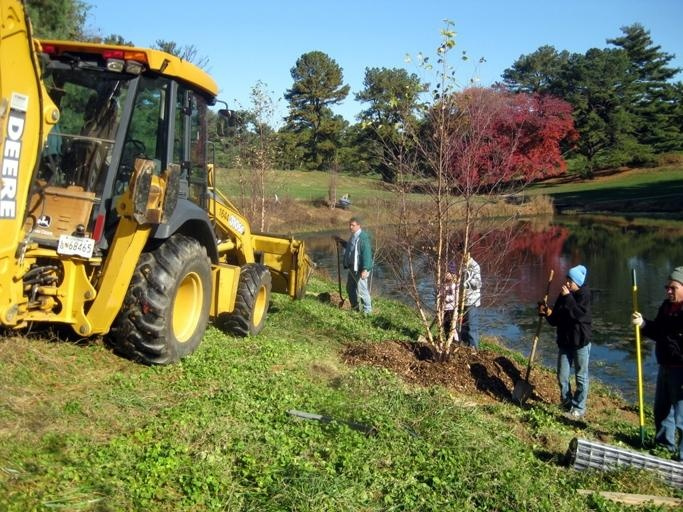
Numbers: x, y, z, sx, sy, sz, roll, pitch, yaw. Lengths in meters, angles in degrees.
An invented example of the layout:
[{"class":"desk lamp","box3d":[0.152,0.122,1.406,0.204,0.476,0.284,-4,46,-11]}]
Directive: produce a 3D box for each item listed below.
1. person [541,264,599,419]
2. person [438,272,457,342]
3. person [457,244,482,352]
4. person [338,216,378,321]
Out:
[{"class":"person","box3d":[3.290,1.186,8.268,0.656,2.269,0.444,5,1,40]},{"class":"person","box3d":[1.785,0.815,9.289,0.290,1.096,1.722,5,0,12]},{"class":"person","box3d":[2.216,0.777,9.646,0.330,1.639,1.775,5,0,13]},{"class":"person","box3d":[0.388,0.183,12.067,0.681,1.976,0.852,5,0,1]}]
